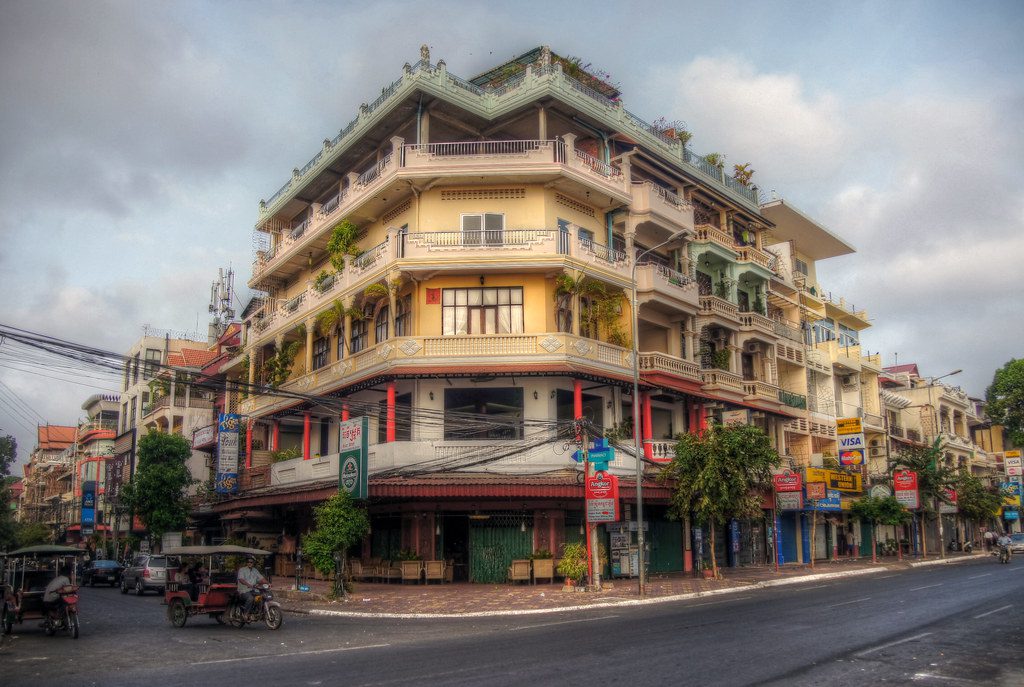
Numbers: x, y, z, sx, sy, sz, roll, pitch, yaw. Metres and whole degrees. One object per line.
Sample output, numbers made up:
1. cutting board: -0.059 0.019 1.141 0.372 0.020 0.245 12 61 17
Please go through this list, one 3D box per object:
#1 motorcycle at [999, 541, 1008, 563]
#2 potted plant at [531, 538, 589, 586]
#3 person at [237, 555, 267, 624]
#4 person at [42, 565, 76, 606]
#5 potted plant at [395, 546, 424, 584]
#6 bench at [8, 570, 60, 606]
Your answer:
1. motorcycle: 30.336 12.774 63.517 0.619 1.378 1.301 -8 -20 24
2. potted plant: 2.558 10.923 51.211 1.772 2.237 2.877 14 -23 -35
3. person: -10.251 9.577 40.372 1.175 2.410 0.604 -4 -19 12
4. person: -17.706 9.381 40.289 1.094 1.473 2.125 8 -20 -22
5. potted plant: -5.298 11.249 52.205 1.379 1.918 1.401 0 -16 2
6. bench: -18.995 9.595 40.725 1.448 1.452 1.550 12 -25 -38
